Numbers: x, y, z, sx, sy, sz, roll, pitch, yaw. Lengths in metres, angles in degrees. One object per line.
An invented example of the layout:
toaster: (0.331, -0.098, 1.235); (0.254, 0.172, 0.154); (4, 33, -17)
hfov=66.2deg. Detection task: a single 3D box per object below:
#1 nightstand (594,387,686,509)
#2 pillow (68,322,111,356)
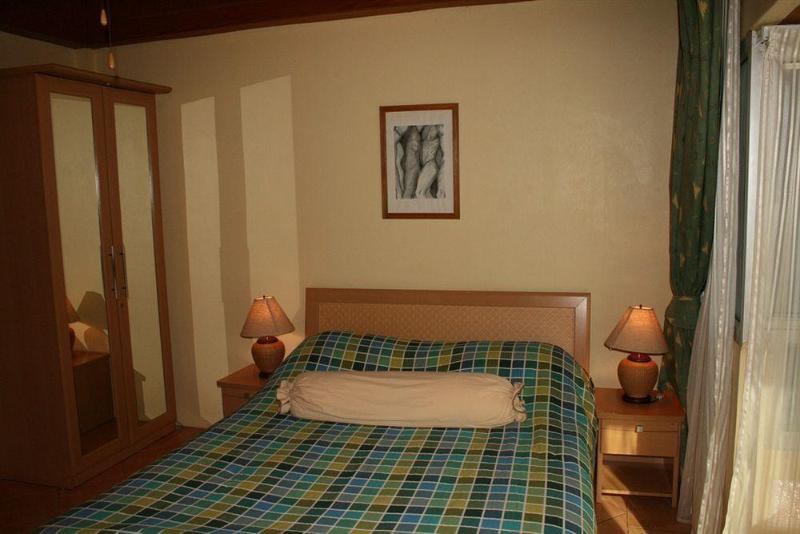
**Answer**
nightstand: (1.665, 1.237, 4.348); (0.566, 0.698, 0.532); (1, 10, 14)
pillow: (-2.369, 0.533, 4.680); (0.073, 0.210, 0.210); (-14, -18, 33)
